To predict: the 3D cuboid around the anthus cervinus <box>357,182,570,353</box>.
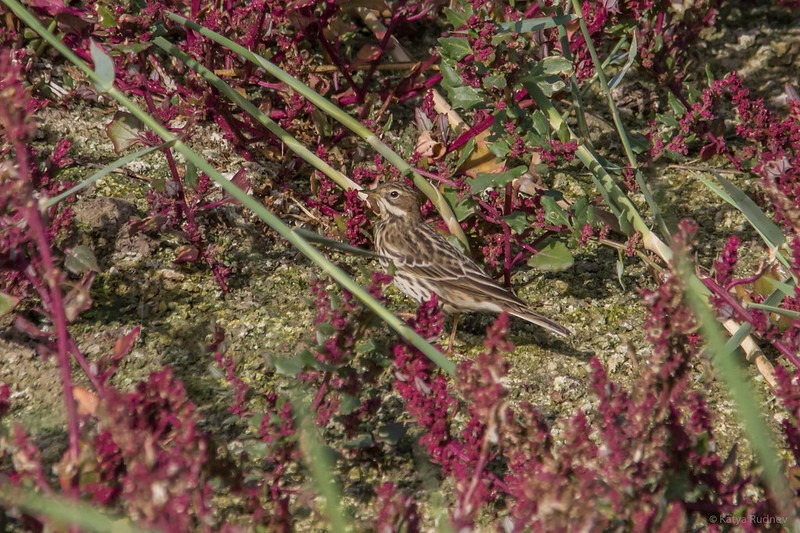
[{"bbox_3d":[0.464,0.036,5.536,1.430,1.050,0.501,6,3,4],"label":"anthus cervinus"}]
